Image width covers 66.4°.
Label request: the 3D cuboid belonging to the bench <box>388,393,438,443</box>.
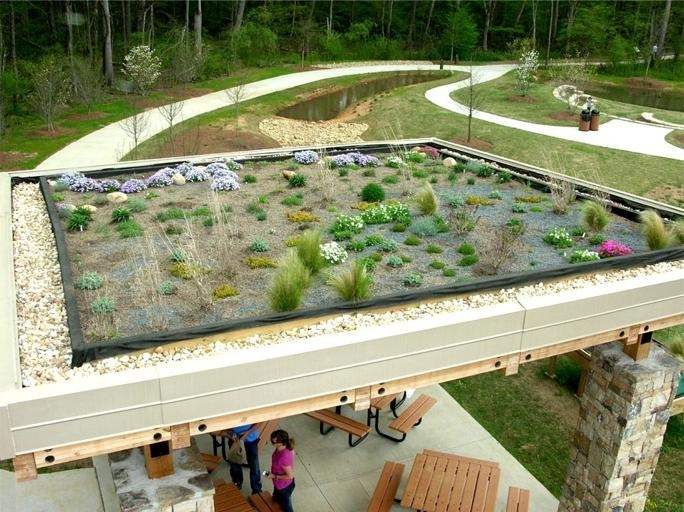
[{"bbox_3d":[1.141,2.766,8.779,0.354,0.589,1.086,19,28,36],"label":"bench"}]

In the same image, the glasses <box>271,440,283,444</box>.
[{"bbox_3d":[-0.799,2.286,6.429,0.124,0.083,0.031,1,23,-3],"label":"glasses"}]

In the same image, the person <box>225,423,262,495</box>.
[{"bbox_3d":[-1.367,2.801,7.401,0.520,1.601,0.315,7,31,0],"label":"person"}]

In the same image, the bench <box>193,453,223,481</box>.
[{"bbox_3d":[-1.968,3.098,7.903,0.280,0.407,0.420,-4,23,-12],"label":"bench"}]

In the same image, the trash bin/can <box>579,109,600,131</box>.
[{"bbox_3d":[10.515,-5.685,22.227,1.074,0.945,0.718,-5,17,-9],"label":"trash bin/can"}]
